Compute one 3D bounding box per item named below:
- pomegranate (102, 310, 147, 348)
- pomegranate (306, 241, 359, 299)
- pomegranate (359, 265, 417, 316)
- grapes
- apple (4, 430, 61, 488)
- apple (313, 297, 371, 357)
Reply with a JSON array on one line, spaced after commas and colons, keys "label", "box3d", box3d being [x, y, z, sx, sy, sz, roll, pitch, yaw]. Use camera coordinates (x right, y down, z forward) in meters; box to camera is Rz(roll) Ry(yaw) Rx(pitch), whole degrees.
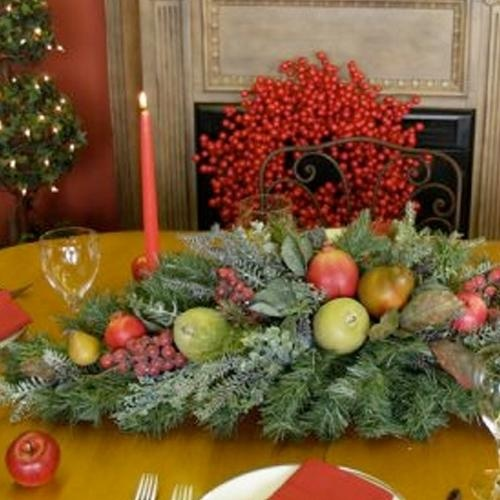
[{"label": "pomegranate", "box3d": [-0.121, 0.077, 0.514, 0.039, 0.032, 0.039, -14, 31, -24]}, {"label": "pomegranate", "box3d": [0.084, 0.024, 0.542, 0.053, 0.061, 0.053, -17, 12, -13]}, {"label": "pomegranate", "box3d": [0.126, 0.035, 0.527, 0.050, 0.049, 0.049, -20, -2, 7]}, {"label": "grapes", "box3d": [-0.096, 0.096, 0.493, 0.061, 0.024, 0.039, -11, 18, -27]}, {"label": "apple", "box3d": [-0.165, 0.159, 0.413, 0.039, 0.036, 0.036, 7, 32, 23]}, {"label": "apple", "box3d": [0.082, 0.069, 0.486, 0.047, 0.049, 0.057, 13, -5, 3]}]
